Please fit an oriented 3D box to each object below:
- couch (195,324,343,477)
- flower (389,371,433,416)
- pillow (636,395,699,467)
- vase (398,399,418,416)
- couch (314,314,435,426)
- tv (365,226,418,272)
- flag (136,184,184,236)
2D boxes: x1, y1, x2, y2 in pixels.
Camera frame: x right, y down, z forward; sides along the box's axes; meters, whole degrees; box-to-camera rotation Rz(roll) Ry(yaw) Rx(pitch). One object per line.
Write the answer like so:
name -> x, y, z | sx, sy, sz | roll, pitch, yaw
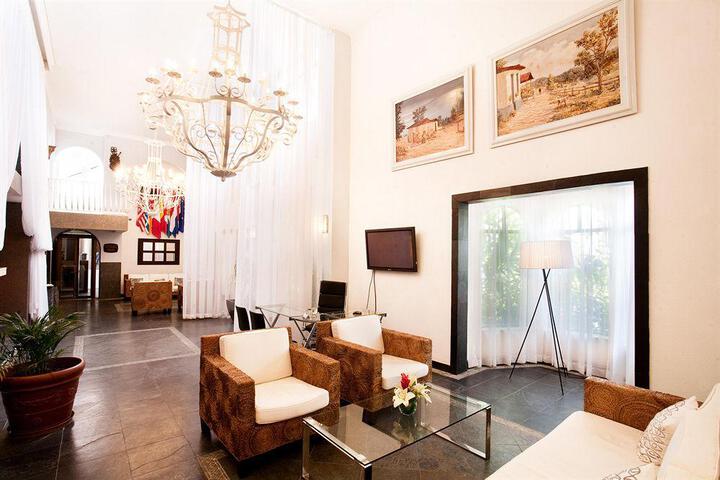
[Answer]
couch -> -1.138, 1.817, 5.484 | 1.467, 1.445, 1.526 | 5, -9, -38
flower -> 0.559, 1.787, 5.319 | 0.427, 0.341, 0.483 | 10, -12, -42
pillow -> 3.038, 1.894, 4.456 | 0.545, 0.490, 0.295 | -10, 17, -39
vase -> 0.555, 1.952, 5.250 | 0.197, 0.202, 0.201 | -3, -6, -1
couch -> 0.230, 1.668, 6.369 | 1.307, 1.148, 1.295 | 2, -6, -31
tv -> 0.551, 0.173, 8.128 | 1.160, 0.787, 0.173 | 1, -1, 44
flag -> -5.748, -0.843, 12.832 | 1.358, 1.867, 0.254 | 1, -6, -26
